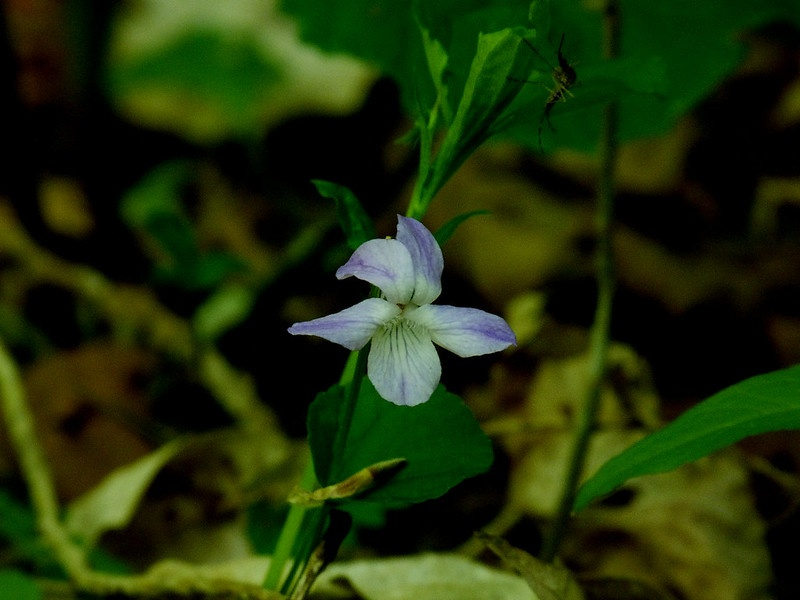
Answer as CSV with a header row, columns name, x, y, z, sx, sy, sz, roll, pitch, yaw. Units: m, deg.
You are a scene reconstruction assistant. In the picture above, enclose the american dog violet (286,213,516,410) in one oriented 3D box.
name,x,y,z,sx,sy,sz,roll,pitch,yaw
american dog violet,0.015,0.038,2.375,0.484,0.227,0.590,-7,91,-8
